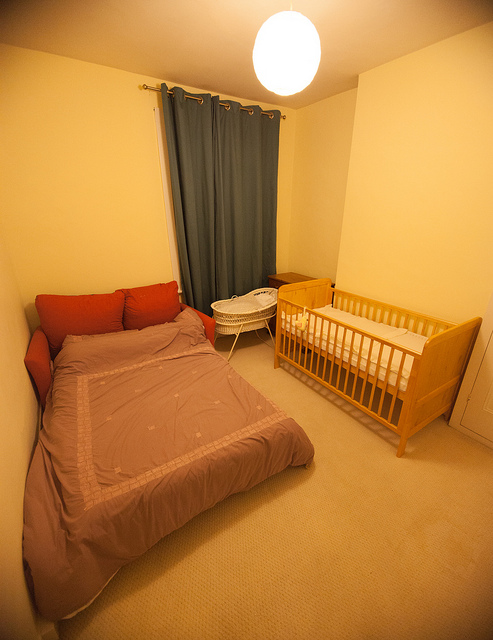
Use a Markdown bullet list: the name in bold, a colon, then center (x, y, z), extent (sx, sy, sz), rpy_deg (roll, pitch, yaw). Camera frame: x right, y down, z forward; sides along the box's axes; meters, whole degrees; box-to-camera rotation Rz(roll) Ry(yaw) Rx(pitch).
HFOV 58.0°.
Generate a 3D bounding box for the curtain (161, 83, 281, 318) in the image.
- **curtain**: center (-0.238, -1.000, 3.608), extent (0.792, 1.558, 0.174), rpy_deg (-14, 25, -35)

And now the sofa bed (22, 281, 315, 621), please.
- **sofa bed**: center (-0.637, 0.449, 2.695), extent (1.459, 0.857, 1.722), rpy_deg (-12, 25, -30)
